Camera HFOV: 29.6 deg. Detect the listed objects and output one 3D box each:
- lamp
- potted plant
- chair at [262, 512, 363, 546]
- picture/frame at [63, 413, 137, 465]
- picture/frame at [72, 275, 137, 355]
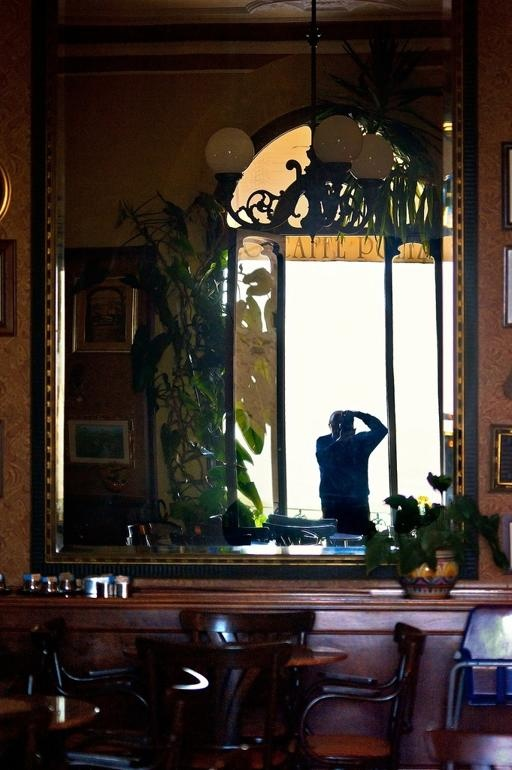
[{"bbox_3d":[0.164,-0.943,3.548,0.840,1.161,0.558,2,6,9],"label":"lamp"},{"bbox_3d":[0.629,0.528,3.373,0.443,0.341,0.450,0,-11,7],"label":"potted plant"},{"bbox_3d":[0.182,0.526,3.558,0.406,0.122,0.131,3,-3,0],"label":"chair"},{"bbox_3d":[-0.563,0.204,3.542,0.198,0.137,0.009,0,-7,-1],"label":"picture/frame"},{"bbox_3d":[-0.549,-0.253,3.571,0.301,0.331,0.024,1,-3,2],"label":"picture/frame"}]
